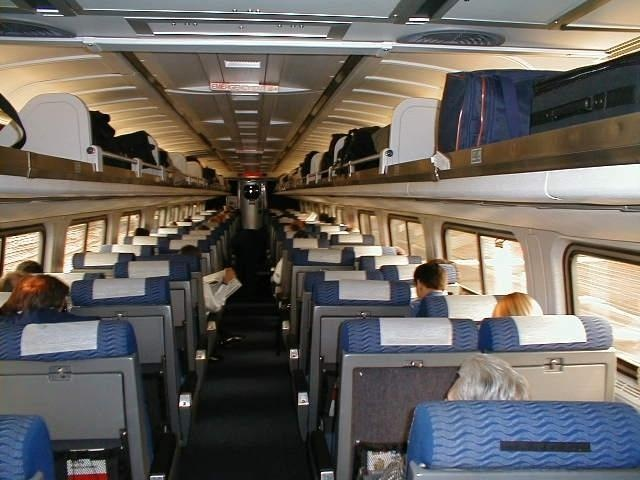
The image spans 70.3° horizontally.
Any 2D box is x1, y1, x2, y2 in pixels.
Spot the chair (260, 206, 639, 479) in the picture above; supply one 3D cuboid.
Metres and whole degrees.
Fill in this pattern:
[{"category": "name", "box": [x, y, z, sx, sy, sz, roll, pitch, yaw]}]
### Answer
[{"category": "chair", "box": [0.882, 0.980, 3.211, 1.718, 1.051, 0.848, -1, 10, -13]}]
